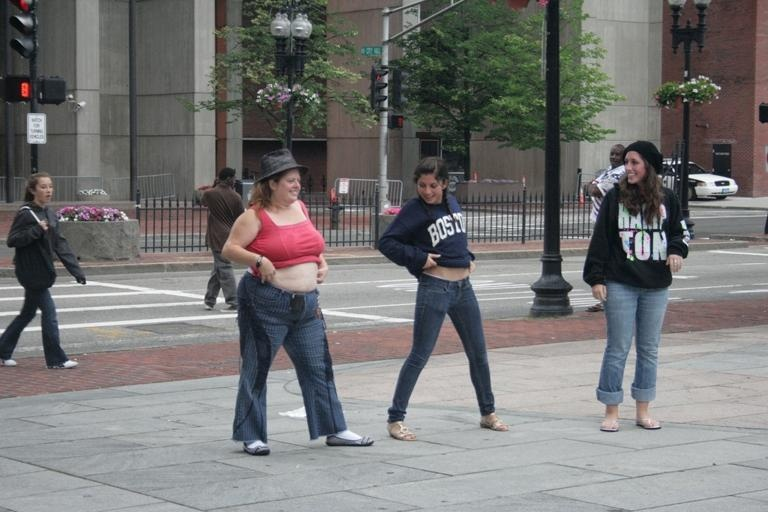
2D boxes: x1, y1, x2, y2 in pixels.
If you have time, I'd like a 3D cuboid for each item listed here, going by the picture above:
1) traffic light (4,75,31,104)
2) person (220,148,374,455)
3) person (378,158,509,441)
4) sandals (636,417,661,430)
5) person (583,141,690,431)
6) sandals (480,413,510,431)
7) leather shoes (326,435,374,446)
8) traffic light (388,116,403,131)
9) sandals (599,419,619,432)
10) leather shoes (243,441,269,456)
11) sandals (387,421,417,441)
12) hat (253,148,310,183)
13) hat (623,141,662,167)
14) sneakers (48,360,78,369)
[{"bbox_3d":[-7.517,-3.425,20.875,0.676,0.548,0.341,2,13,-14],"label":"traffic light"},{"bbox_3d":[-0.860,0.395,8.986,1.062,2.649,0.559,-3,7,-8],"label":"person"},{"bbox_3d":[0.531,0.365,9.438,1.115,2.549,0.695,-3,7,-7],"label":"person"},{"bbox_3d":[2.501,1.579,9.594,0.100,0.074,0.201,1,-4,-31],"label":"sandals"},{"bbox_3d":[2.397,0.272,9.549,0.972,2.672,0.568,-2,7,-3],"label":"person"},{"bbox_3d":[1.032,1.562,9.578,0.302,0.108,0.114,0,5,38],"label":"sandals"},{"bbox_3d":[-0.310,1.655,9.166,0.381,0.112,0.136,-1,-1,2],"label":"leather shoes"},{"bbox_3d":[0.507,-4.492,34.119,0.559,0.442,0.505,0,-3,-7],"label":"traffic light"},{"bbox_3d":[2.117,1.578,9.483,0.099,0.091,0.244,-1,-9,8],"label":"sandals"},{"bbox_3d":[-1.108,1.675,8.883,0.217,0.072,0.112,-1,1,37],"label":"leather shoes"},{"bbox_3d":[0.167,1.598,9.333,0.113,0.121,0.326,-6,0,-44],"label":"sandals"},{"bbox_3d":[-1.006,-0.786,9.027,0.406,0.190,0.382,-21,0,34],"label":"hat"},{"bbox_3d":[2.473,-0.989,9.601,0.323,0.111,0.259,27,2,-16],"label":"hat"},{"bbox_3d":[-3.876,1.312,12.328,0.333,0.116,0.110,-7,9,-5],"label":"sneakers"}]
